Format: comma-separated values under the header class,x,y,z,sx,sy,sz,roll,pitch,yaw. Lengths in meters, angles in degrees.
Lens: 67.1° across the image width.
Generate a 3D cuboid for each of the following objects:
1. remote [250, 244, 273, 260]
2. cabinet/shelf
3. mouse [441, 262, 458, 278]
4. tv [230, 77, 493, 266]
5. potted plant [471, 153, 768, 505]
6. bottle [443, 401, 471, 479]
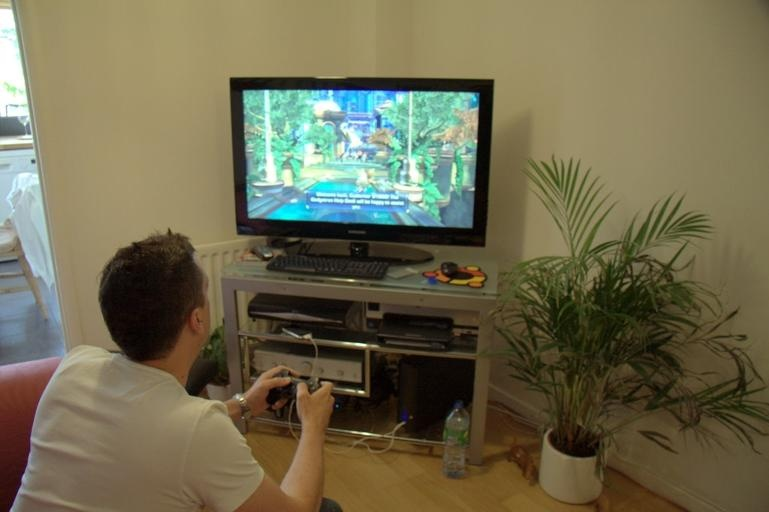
class,x,y,z,sx,sy,sz,roll,pitch,yaw
remote,-0.655,-0.022,3.106,0.067,0.028,0.121,-8,21,-32
cabinet/shelf,-0.064,0.307,3.162,1.853,1.135,0.925,5,17,14
mouse,0.327,0.061,2.937,0.073,0.046,0.073,11,23,32
tv,-0.142,-0.482,3.076,1.358,0.933,0.370,3,16,10
potted plant,1.334,0.181,3.393,1.546,2.143,1.416,12,24,31
bottle,0.352,0.922,2.881,0.127,0.304,0.177,1,16,9
